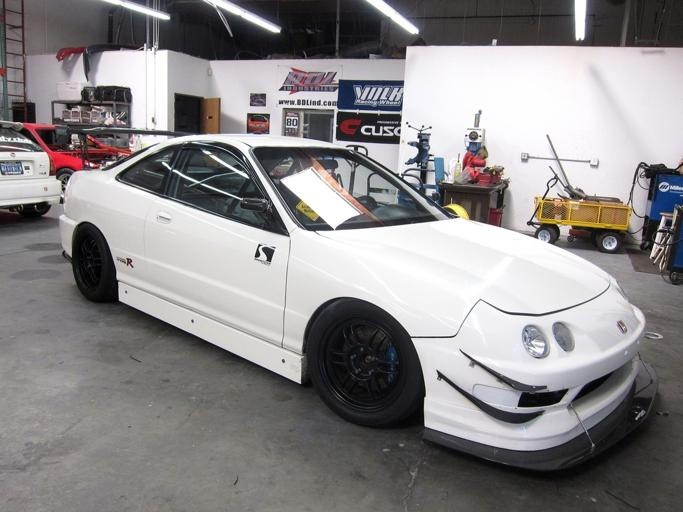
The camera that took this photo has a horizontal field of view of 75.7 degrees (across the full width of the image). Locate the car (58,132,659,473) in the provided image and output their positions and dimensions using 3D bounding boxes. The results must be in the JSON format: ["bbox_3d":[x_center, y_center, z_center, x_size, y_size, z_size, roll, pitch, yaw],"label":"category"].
[{"bbox_3d":[-0.356,0.043,3.389,4.398,1.499,1.770,14,15,34],"label":"car"}]
